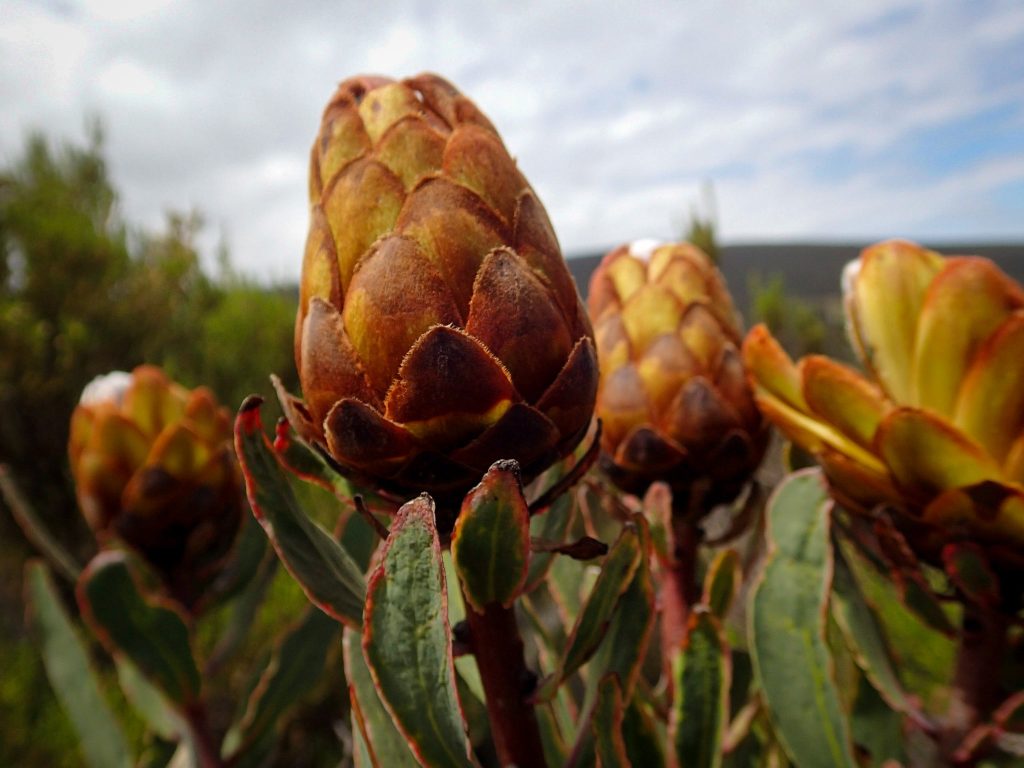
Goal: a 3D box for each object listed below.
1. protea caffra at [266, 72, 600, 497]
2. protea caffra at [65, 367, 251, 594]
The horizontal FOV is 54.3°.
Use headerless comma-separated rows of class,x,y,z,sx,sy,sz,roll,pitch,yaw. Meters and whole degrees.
protea caffra,-0.069,-0.072,0.889,0.211,0.410,0.256,1,-16,-26
protea caffra,-0.364,0.105,1.015,0.096,0.198,0.130,-17,-34,-20
